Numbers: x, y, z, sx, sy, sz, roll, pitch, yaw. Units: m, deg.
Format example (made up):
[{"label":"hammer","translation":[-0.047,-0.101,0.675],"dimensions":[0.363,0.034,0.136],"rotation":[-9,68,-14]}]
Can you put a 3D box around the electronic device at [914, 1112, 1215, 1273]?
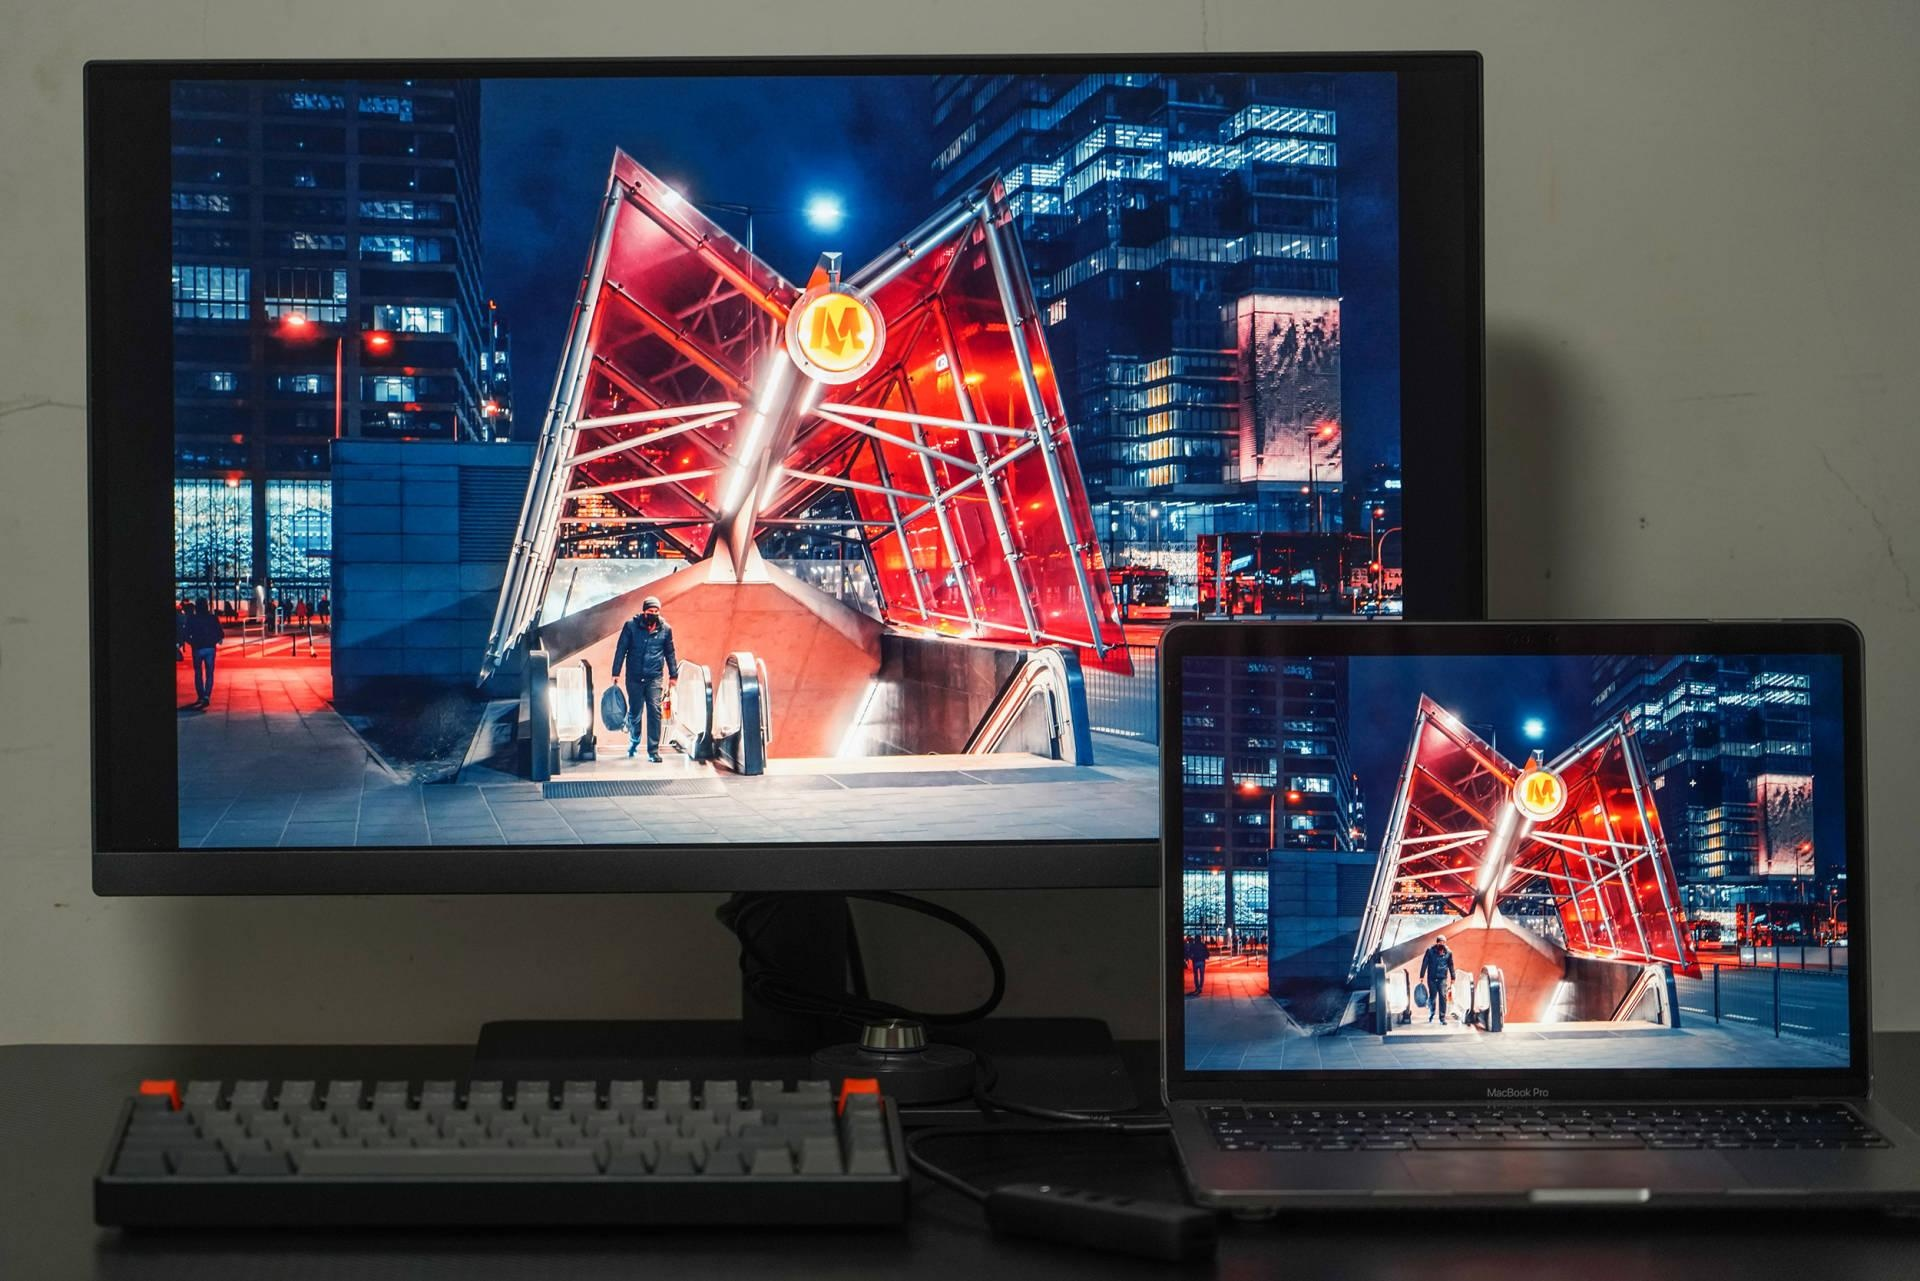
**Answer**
[{"label":"electronic device","translation":[0.086,0.501,1.678],"dimensions":[0.267,0.068,0.216],"rotation":[0,1,-2]}]
